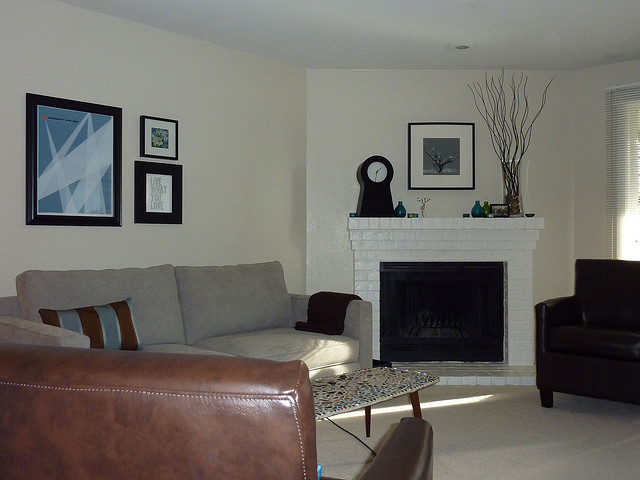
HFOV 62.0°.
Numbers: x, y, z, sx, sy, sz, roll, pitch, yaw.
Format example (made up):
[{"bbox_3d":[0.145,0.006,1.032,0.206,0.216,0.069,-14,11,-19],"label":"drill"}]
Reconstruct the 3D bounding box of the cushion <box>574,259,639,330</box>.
[{"bbox_3d":[2.292,0.432,4.236,0.497,0.501,0.511,-1,-5,36],"label":"cushion"}]

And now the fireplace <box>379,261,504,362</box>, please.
[{"bbox_3d":[1.208,0.725,5.232,1.180,1.004,0.426,-2,-16,20],"label":"fireplace"}]

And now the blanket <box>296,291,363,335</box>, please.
[{"bbox_3d":[0.055,0.574,4.139,0.355,0.367,0.117,0,-18,31],"label":"blanket"}]

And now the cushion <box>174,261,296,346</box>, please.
[{"bbox_3d":[-0.656,0.472,4.218,0.975,0.573,0.347,-3,0,-37],"label":"cushion"}]

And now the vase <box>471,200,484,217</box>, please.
[{"bbox_3d":[1.492,-0.290,5.050,0.134,0.187,0.132,-1,0,-34],"label":"vase"}]

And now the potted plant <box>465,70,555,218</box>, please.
[{"bbox_3d":[1.794,-0.959,5.238,0.796,1.424,0.307,11,-1,10],"label":"potted plant"}]

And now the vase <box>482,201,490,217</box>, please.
[{"bbox_3d":[1.588,-0.285,5.097,0.114,0.166,0.117,0,4,18],"label":"vase"}]

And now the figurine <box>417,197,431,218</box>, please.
[{"bbox_3d":[1.016,-0.323,5.289,0.129,0.195,0.044,11,-1,7],"label":"figurine"}]

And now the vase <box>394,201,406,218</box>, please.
[{"bbox_3d":[0.754,-0.286,5.067,0.133,0.187,0.134,-1,1,-15],"label":"vase"}]
